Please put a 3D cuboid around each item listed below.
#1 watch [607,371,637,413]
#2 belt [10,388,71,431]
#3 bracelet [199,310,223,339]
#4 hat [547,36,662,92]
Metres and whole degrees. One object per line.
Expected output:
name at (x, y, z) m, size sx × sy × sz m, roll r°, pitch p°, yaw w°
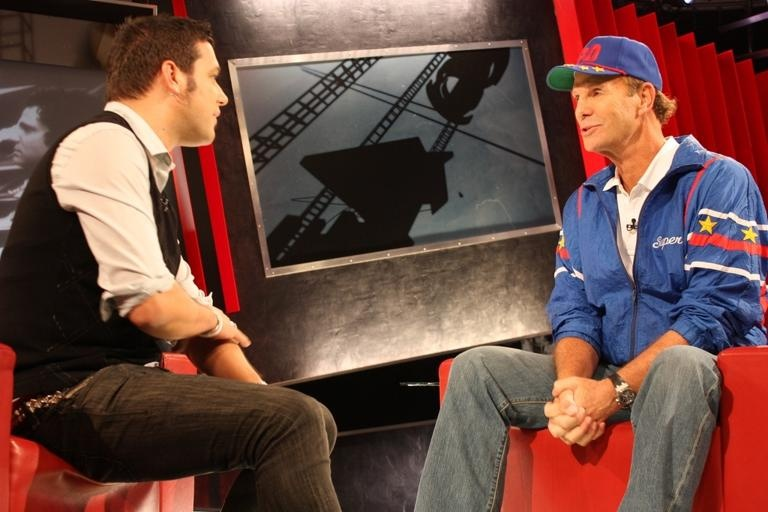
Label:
watch at (0.769, 0.436, 2.129) m, size 0.070 × 0.108 × 0.106 m, roll -33°, pitch 3°, yaw -10°
belt at (-0.995, 0.426, 1.918) m, size 0.125 × 0.124 × 0.097 m, roll -20°, pitch 7°, yaw -18°
bracelet at (-0.575, 0.224, 2.155) m, size 0.037 × 0.093 × 0.081 m, roll 3°, pitch 44°, yaw -21°
hat at (0.867, -0.744, 2.601) m, size 0.377 × 0.193 × 0.269 m, roll 3°, pitch 0°, yaw -5°
